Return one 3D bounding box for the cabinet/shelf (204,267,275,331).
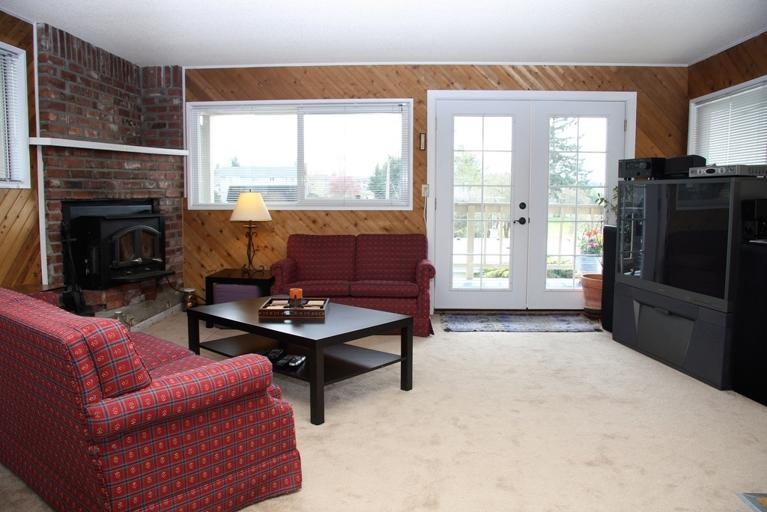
[{"bbox_3d":[-1.617,0.510,5.902,0.816,0.491,0.698,0,5,1],"label":"cabinet/shelf"}]

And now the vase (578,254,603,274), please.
[{"bbox_3d":[2.541,0.119,6.376,0.293,0.176,0.266,0,1,15],"label":"vase"}]

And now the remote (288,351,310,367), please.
[{"bbox_3d":[-0.672,0.843,4.120,0.140,0.081,0.277,0,6,11],"label":"remote"}]

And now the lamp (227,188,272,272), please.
[{"bbox_3d":[-1.541,-0.273,6.122,0.461,0.973,0.730,-4,14,-13],"label":"lamp"}]

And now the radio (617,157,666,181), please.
[{"bbox_3d":[2.572,-0.821,5.058,0.298,0.173,0.400,-2,3,-29],"label":"radio"}]
